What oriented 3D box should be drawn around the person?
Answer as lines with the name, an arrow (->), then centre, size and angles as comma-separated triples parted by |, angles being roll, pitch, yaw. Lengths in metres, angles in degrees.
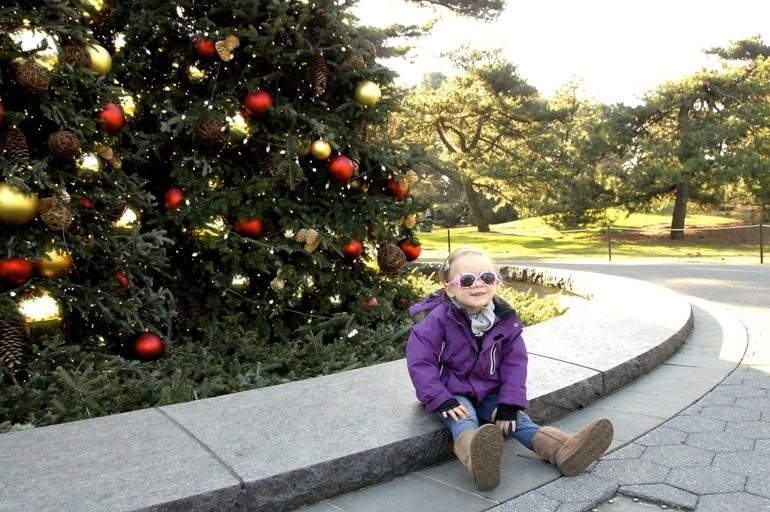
person -> 0.646, 0.642, 3.158 | 0.862, 1.037, 1.527 | 0, 8, -12

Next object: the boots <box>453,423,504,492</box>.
boots -> 0.536, 1.123, 2.870 | 0.274, 0.376, 0.228 | -3, 5, 6
